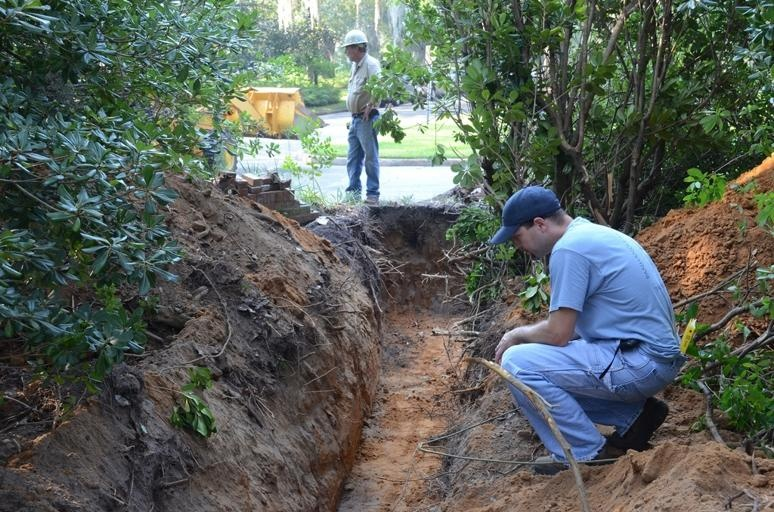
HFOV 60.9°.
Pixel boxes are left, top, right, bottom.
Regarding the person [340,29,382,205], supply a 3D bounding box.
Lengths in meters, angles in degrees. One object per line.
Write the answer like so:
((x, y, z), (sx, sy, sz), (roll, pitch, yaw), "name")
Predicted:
((-0.377, -2.130, 10.390), (0.554, 2.757, 1.018), (-13, 18, -27), "person")

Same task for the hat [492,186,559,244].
((1.073, -0.301, 5.182), (0.635, 0.351, 0.419), (-20, -12, 10), "hat")

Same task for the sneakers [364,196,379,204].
((-0.252, -0.920, 10.944), (0.176, 0.186, 0.122), (10, 9, -27), "sneakers")

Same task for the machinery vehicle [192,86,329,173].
((-2.145, -2.102, 11.416), (2.055, 0.861, 1.495), (-9, 18, -33), "machinery vehicle")

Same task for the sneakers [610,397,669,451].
((1.912, 1.283, 5.032), (0.180, 0.485, 0.299), (41, 12, 23), "sneakers")
